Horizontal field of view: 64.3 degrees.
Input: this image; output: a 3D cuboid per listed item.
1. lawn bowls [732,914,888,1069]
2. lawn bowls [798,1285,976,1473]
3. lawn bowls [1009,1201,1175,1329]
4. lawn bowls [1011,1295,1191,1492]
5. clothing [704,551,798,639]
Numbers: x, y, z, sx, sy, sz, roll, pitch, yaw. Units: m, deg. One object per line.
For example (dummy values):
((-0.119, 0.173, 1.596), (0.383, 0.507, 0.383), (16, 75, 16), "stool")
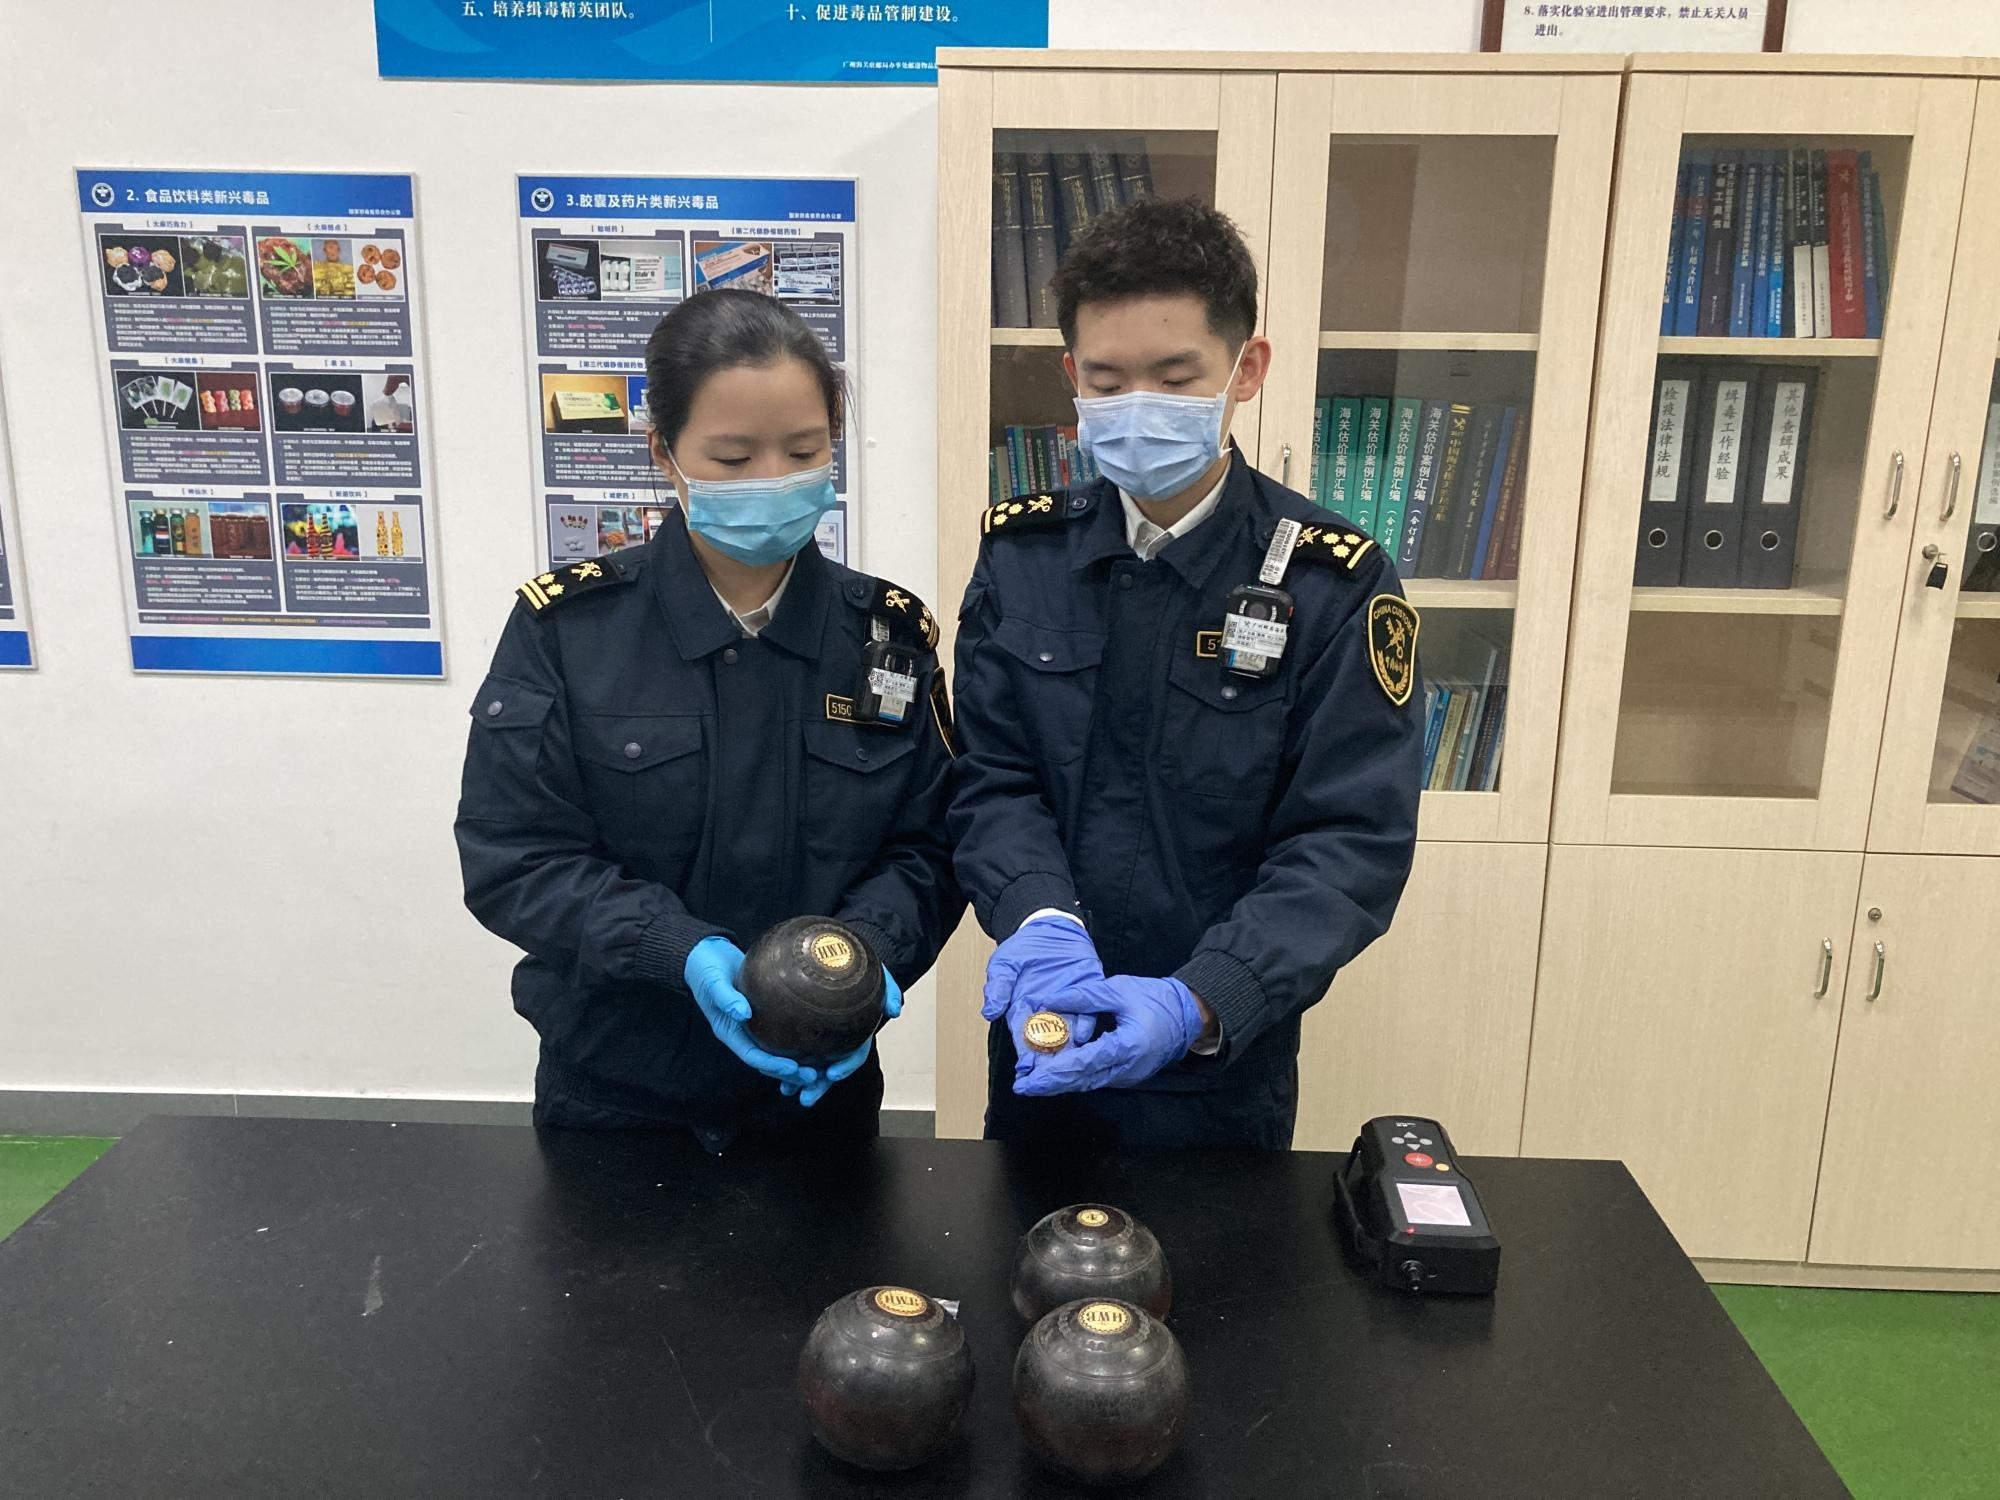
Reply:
((-0.227, 0.291, 1.943), (0.168, 0.148, 0.098), (-2, 15, -8), "lawn bowls")
((-0.122, 0.650, 1.703), (0.177, 0.121, 0.169), (5, 7, -1), "lawn bowls")
((0.105, 0.547, 1.836), (0.191, 0.119, 0.174), (11, 13, 35), "lawn bowls")
((0.104, 0.670, 1.656), (0.176, 0.156, 0.105), (0, 15, 0), "lawn bowls")
((-0.344, -0.196, 2.152), (0.098, 0.117, 0.074), (3, -11, -3), "clothing")
